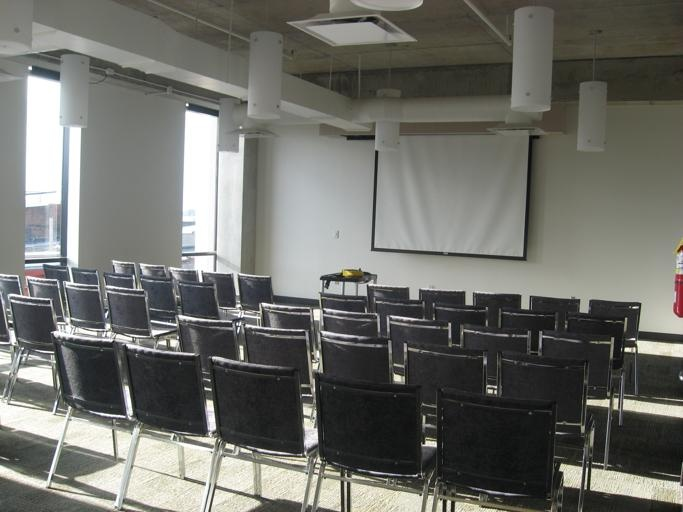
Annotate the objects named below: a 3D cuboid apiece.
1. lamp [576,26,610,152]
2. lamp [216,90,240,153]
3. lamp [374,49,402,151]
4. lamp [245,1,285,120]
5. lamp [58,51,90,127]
[{"bbox_3d":[3.770,-2.126,8.701,0.413,1.024,0.272,4,5,10],"label":"lamp"},{"bbox_3d":[-2.221,-2.635,11.511,0.371,1.109,0.666,2,5,-14],"label":"lamp"},{"bbox_3d":[0.903,-2.865,10.883,0.454,1.797,1.123,4,5,5],"label":"lamp"},{"bbox_3d":[-0.944,-2.282,7.298,0.406,1.053,0.306,2,5,-10],"label":"lamp"},{"bbox_3d":[-3.799,-2.374,8.264,0.382,1.026,0.347,2,5,-13],"label":"lamp"}]
